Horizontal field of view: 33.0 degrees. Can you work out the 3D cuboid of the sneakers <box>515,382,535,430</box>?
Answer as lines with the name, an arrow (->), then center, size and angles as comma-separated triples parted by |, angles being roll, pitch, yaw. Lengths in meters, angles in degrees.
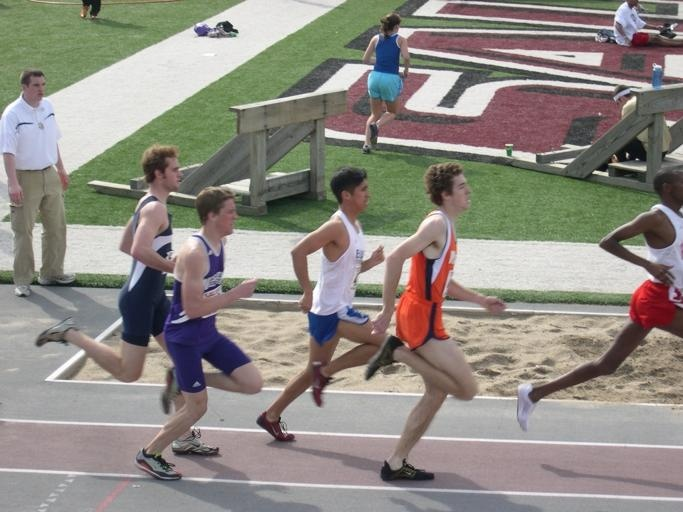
sneakers -> 1.955, 1.580, 12.364 | 0.240, 0.474, 0.172 | 3, 7, 20

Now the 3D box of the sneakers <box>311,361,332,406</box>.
sneakers -> -0.221, 1.321, 12.173 | 0.235, 0.446, 0.165 | -3, 10, -4

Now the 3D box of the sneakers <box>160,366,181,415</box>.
sneakers -> -1.831, 1.393, 12.009 | 0.247, 0.484, 0.179 | 9, 11, -19

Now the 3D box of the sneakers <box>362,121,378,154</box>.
sneakers -> 0.515, -2.154, 21.207 | 0.227, 0.548, 0.272 | 22, 43, 29

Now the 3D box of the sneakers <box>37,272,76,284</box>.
sneakers -> -3.822, 0.321, 15.363 | 0.493, 0.186, 0.164 | -8, 12, -14

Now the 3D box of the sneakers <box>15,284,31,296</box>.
sneakers -> -4.188, 0.447, 14.992 | 0.130, 0.058, 0.182 | 1, 24, -12

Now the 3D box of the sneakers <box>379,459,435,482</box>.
sneakers -> 0.632, 2.178, 11.827 | 0.647, 0.210, 0.200 | 0, 3, -5

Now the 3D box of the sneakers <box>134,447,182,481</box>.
sneakers -> -1.892, 2.098, 11.773 | 0.598, 0.238, 0.215 | 22, 4, -3

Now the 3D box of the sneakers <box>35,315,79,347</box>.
sneakers -> -3.260, 0.852, 13.036 | 0.556, 0.228, 0.192 | -29, -10, 0

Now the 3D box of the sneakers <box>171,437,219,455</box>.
sneakers -> -1.565, 1.977, 12.124 | 0.547, 0.191, 0.167 | 0, -2, -2

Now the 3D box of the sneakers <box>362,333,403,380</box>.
sneakers -> 0.437, 1.032, 12.013 | 0.254, 0.590, 0.213 | 39, 14, -14
